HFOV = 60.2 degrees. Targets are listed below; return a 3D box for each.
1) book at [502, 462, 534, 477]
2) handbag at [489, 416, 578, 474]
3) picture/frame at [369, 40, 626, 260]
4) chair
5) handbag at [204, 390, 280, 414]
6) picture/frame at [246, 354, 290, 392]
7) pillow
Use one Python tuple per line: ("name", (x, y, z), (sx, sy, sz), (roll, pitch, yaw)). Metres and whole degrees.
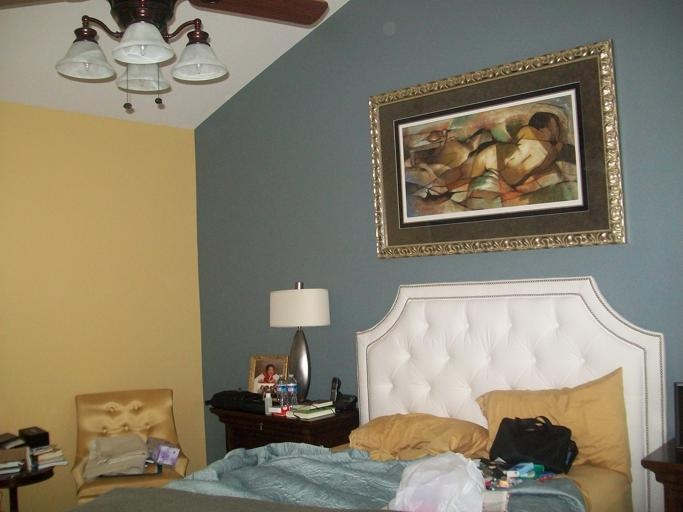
("book", (0.957, 1.167, 3.206), (0.202, 0.051, 0.081), (0, -6, -31))
("handbag", (1.066, 1.053, 3.332), (0.489, 0.361, 0.261), (5, -16, 27))
("picture/frame", (1.089, -0.702, 3.942), (1.568, 1.140, 0.079), (-3, -1, 31))
("chair", (-1.550, 1.492, 4.300), (0.805, 0.938, 0.885), (-4, -8, -3))
("handbag", (-0.805, 1.139, 4.602), (0.262, 0.105, 0.323), (-1, -8, 31))
("picture/frame", (-0.591, 0.950, 4.768), (0.298, 0.299, 0.023), (-15, -30, 28))
("pillow", (1.002, 1.005, 3.586), (1.006, 0.435, 0.817), (-2, -7, 21))
